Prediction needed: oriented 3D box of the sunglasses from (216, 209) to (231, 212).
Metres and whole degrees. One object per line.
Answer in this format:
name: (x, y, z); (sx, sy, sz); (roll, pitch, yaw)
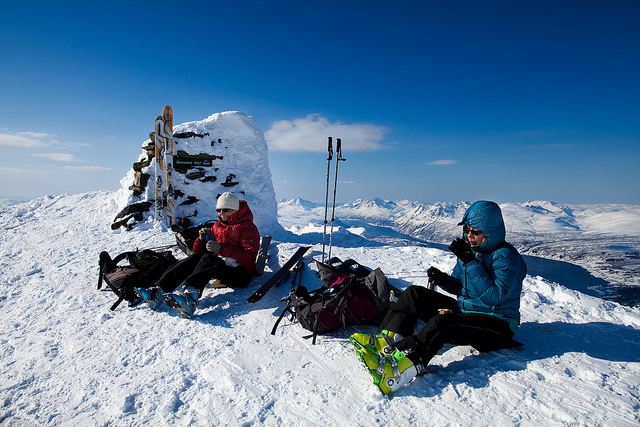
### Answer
sunglasses: (-2.461, -0.064, 10.697); (0.382, 0.085, 0.089); (4, 7, 28)

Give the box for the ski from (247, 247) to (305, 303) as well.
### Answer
ski: (-1.206, 1.695, 11.188); (0.268, 0.151, 2.279); (11, 38, 39)

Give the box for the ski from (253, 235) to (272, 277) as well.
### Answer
ski: (-1.645, 1.265, 11.881); (0.281, 0.075, 1.516); (11, 33, -3)
